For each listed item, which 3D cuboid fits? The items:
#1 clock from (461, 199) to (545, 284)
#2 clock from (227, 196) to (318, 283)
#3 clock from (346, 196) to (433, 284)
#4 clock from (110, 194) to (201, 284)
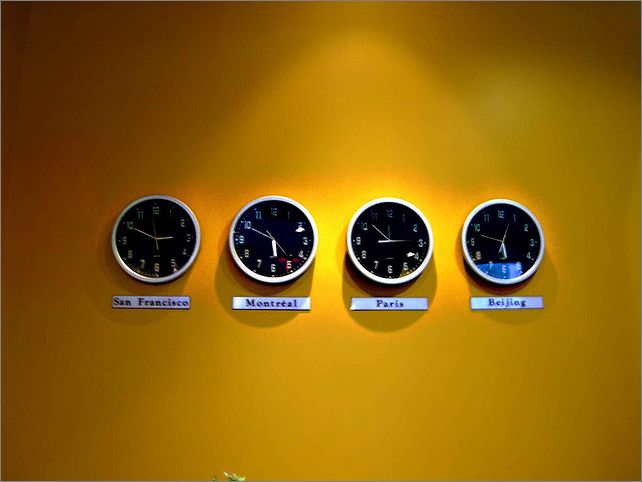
[{"bbox_3d":[1.275,0.019,4.918,0.568,0.566,0.203,6,-20,-5],"label":"clock"},{"bbox_3d":[-0.336,0.016,4.850,0.506,0.589,0.062,2,-10,-4],"label":"clock"},{"bbox_3d":[0.472,0.023,4.860,0.494,0.577,0.057,3,-8,-5],"label":"clock"},{"bbox_3d":[-1.159,0.003,4.871,0.588,0.674,0.072,-3,-24,-12],"label":"clock"}]
